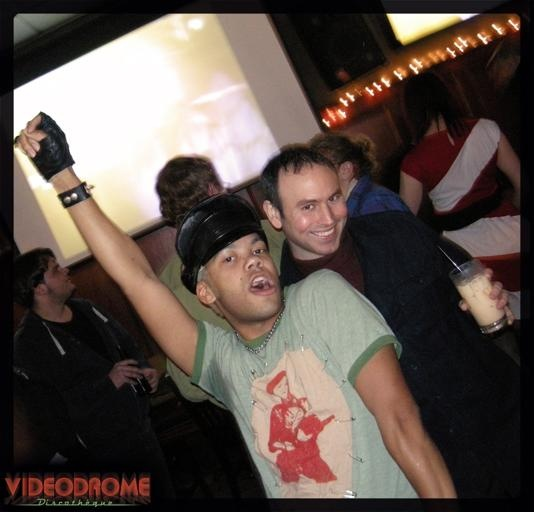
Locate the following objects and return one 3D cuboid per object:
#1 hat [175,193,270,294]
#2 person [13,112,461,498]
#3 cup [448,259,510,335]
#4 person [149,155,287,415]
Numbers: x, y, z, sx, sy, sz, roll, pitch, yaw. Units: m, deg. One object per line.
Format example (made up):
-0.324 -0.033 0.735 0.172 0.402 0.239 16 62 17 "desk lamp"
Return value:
-0.155 -0.066 1.564 0.290 0.132 0.372 -52 -2 18 "hat"
-0.172 0.241 1.598 0.702 1.470 0.295 -38 6 -9 "person"
0.761 0.159 1.524 0.135 0.288 0.133 -28 -13 -7 "cup"
-0.250 0.090 1.918 0.611 0.938 0.324 -9 -4 -5 "person"
